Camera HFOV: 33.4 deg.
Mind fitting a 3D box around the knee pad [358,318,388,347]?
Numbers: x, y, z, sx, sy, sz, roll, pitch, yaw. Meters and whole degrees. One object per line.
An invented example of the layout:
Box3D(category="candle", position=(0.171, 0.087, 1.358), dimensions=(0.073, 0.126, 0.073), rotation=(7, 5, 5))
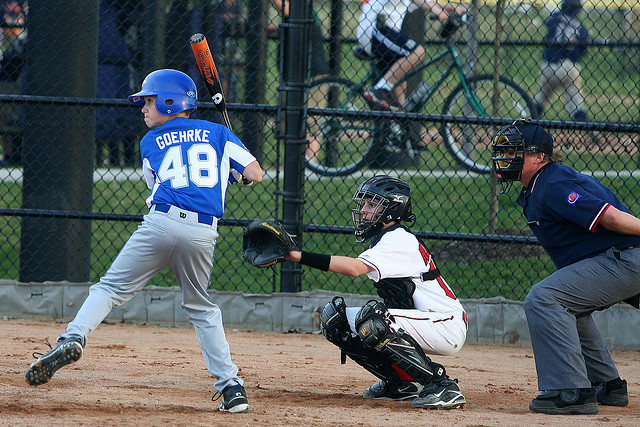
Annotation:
Box3D(category="knee pad", position=(0.498, 1.103, 10.128), dimensions=(0.196, 0.240, 0.267), rotation=(38, 1, -12))

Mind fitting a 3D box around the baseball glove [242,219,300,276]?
Box3D(category="baseball glove", position=(-0.459, 0.279, 9.965), dimensions=(0.547, 0.424, 0.224), rotation=(3, 11, 5))
